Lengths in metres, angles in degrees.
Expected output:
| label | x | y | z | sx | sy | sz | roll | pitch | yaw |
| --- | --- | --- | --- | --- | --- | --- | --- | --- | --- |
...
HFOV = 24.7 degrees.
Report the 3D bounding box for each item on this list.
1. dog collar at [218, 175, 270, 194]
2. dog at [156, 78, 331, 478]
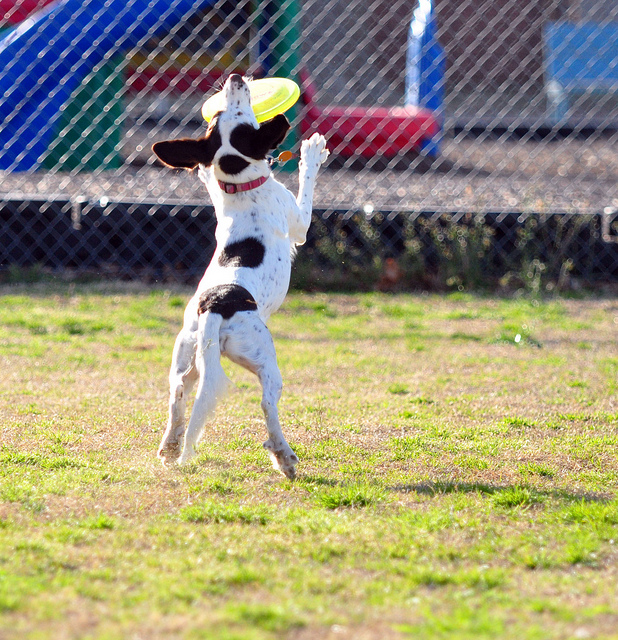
| label | x | y | z | sx | sy | sz | roll | pitch | yaw |
| --- | --- | --- | --- | --- | --- | --- | --- | --- | --- |
| dog collar | -0.302 | -0.610 | 6.341 | 0.207 | 0.079 | 0.073 | 1 | 15 | -2 |
| dog | -0.064 | -0.263 | 6.230 | 0.627 | 1.773 | 1.164 | 2 | -32 | 5 |
